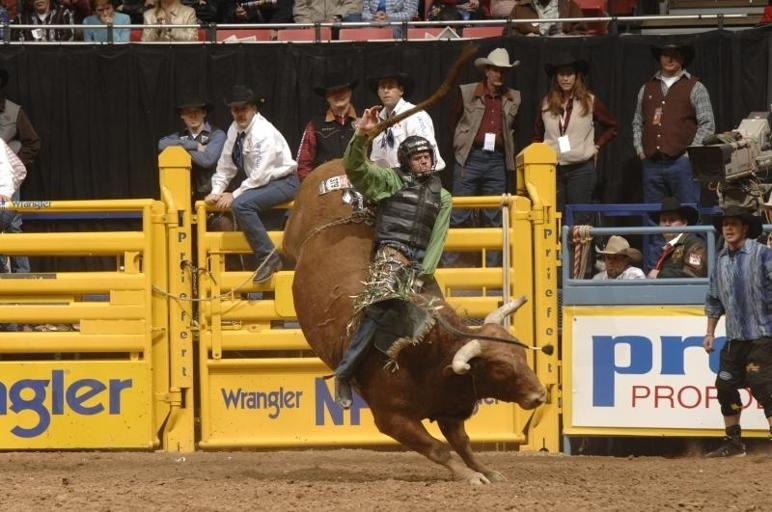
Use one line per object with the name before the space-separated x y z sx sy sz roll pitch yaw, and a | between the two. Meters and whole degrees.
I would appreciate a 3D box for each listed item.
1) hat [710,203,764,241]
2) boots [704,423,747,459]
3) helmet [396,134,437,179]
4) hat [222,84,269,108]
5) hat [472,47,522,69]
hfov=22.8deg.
hat | 4.402 -0.424 23.945 0.616 0.420 0.286 0 7 7
boots | 4.193 2.315 23.868 0.652 0.403 0.238 -2 2 -35
helmet | 0.311 -1.188 22.682 0.451 0.476 0.502 0 -4 -25
hat | -1.826 -2.129 24.908 0.451 0.201 0.516 -2 -1 9
hat | 1.535 -2.692 26.034 0.578 0.232 0.624 3 -6 -3
